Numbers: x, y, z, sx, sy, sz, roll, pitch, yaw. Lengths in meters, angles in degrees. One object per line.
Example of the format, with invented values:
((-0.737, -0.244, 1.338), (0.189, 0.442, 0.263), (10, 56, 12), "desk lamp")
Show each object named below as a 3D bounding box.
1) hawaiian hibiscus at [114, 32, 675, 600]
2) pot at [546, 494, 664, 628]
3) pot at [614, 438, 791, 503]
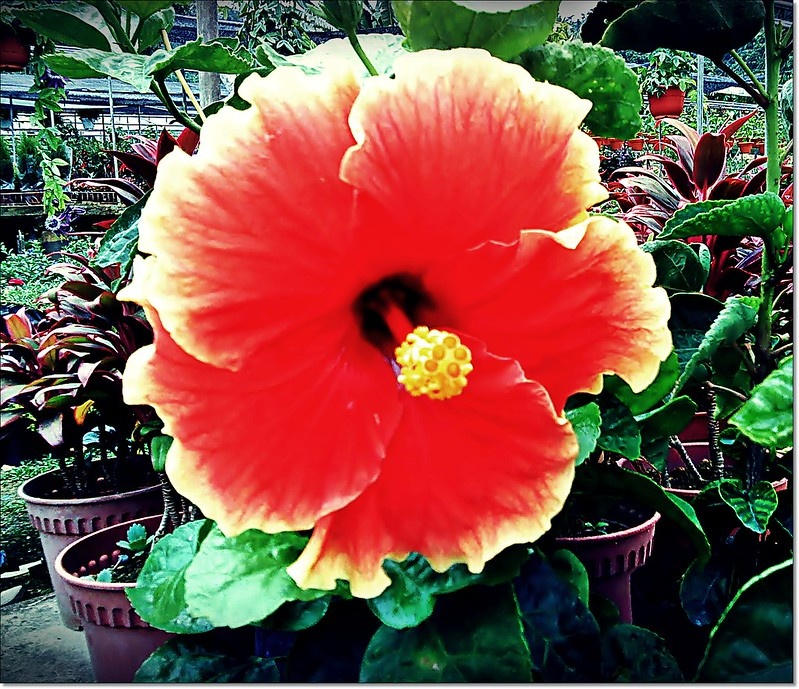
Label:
((-0.001, -0.017, 0.550), (0.421, 0.406, 0.151), (-11, 21, -3), "hawaiian hibiscus")
((0.324, 0.373, 1.087), (0.176, 0.168, 0.145), (0, 62, 2), "pot")
((0.769, 0.325, 1.686), (0.335, 0.125, 0.309), (-5, -12, -1), "pot")
